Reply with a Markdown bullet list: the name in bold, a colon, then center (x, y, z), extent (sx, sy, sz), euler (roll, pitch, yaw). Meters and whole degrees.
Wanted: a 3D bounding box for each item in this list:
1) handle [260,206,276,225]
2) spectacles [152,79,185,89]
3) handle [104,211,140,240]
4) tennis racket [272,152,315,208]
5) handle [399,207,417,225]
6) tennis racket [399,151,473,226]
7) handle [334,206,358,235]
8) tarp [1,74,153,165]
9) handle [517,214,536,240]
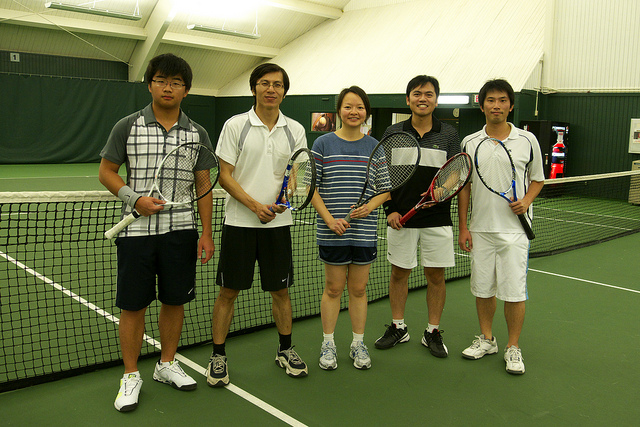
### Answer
- **handle**: center (-0.471, 0.012, 4.551), extent (0.055, 0.161, 0.114), euler (28, -12, -11)
- **spectacles**: center (-1.322, -1.147, 4.350), extent (0.251, 0.077, 0.066), euler (-3, 11, -19)
- **handle**: center (-1.704, 0.088, 4.292), extent (0.277, 0.238, 0.166), euler (-5, 12, -28)
- **tennis racket**: center (-0.234, -0.317, 4.693), extent (0.312, 0.590, 1.085), euler (0, 11, -4)
- **handle**: center (0.855, 0.042, 5.043), extent (0.058, 0.069, 0.351), euler (-13, -27, -36)
- **tennis racket**: center (1.154, -0.225, 5.013), extent (0.066, 0.925, 0.385), euler (15, 42, -33)
- **handle**: center (0.256, 0.049, 4.784), extent (0.191, 0.271, 0.141), euler (1, 10, 1)
- **tarp**: center (-10.779, -4.019, 21.220), extent (4.960, 3.671, 0.367), euler (-6, 11, -31)
- **handle**: center (2.078, 0.132, 4.984), extent (0.268, 0.285, 0.104), euler (-9, 13, -41)
